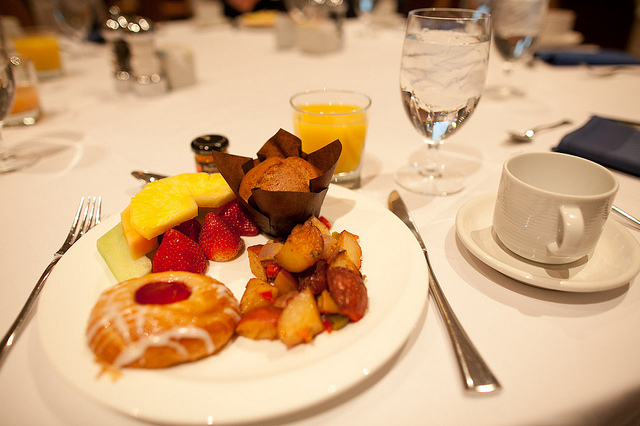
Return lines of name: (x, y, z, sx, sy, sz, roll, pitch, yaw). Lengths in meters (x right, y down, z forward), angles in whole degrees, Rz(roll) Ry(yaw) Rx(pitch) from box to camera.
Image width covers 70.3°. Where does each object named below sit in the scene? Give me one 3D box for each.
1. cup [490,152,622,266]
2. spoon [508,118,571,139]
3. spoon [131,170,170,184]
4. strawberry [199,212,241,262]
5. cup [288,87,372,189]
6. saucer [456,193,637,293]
cup: (0.615, 0.016, 1.187, 0.261, 0.230, 0.346, 2, 30, 7)
spoon: (0.876, -0.334, 1.814, 0.268, 0.040, 0.052, -17, 31, -15)
spoon: (-0.550, -0.114, 1.467, 0.128, 0.017, 0.032, 22, 45, -40)
strawberry: (-0.270, 0.070, 1.295, 0.144, 0.107, 0.164, 2, 17, -3)
cup: (0.046, -0.301, 1.589, 0.316, 0.361, 0.323, 0, 32, 0)
saucer: (0.599, 0.101, 1.244, 0.347, 0.252, 0.244, -1, 30, 0)
